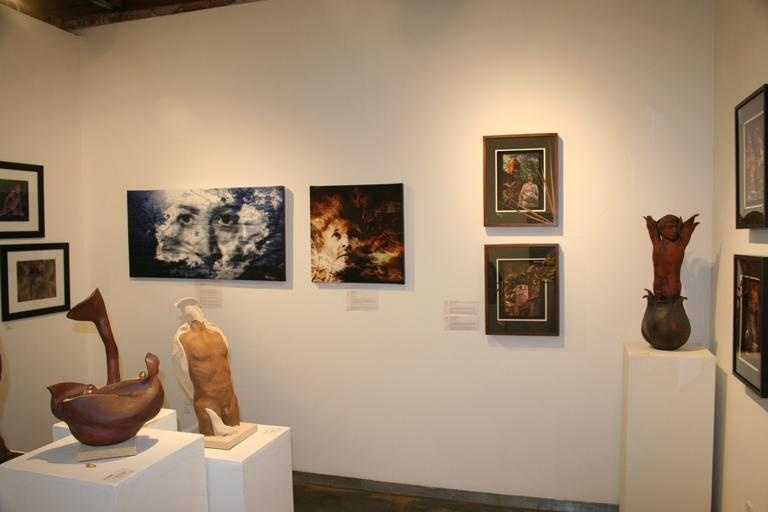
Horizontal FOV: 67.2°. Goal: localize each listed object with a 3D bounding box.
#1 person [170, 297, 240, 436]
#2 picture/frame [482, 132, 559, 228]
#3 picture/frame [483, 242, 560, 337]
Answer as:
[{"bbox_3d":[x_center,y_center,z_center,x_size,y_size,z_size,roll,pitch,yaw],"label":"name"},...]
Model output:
[{"bbox_3d":[-1.497,0.907,4.858,0.520,1.106,0.319,-1,3,-7],"label":"person"},{"bbox_3d":[1.272,-0.713,5.298,0.844,1.038,0.086,1,0,7],"label":"picture/frame"},{"bbox_3d":[1.292,0.285,5.329,0.853,1.064,0.045,0,2,12],"label":"picture/frame"}]
